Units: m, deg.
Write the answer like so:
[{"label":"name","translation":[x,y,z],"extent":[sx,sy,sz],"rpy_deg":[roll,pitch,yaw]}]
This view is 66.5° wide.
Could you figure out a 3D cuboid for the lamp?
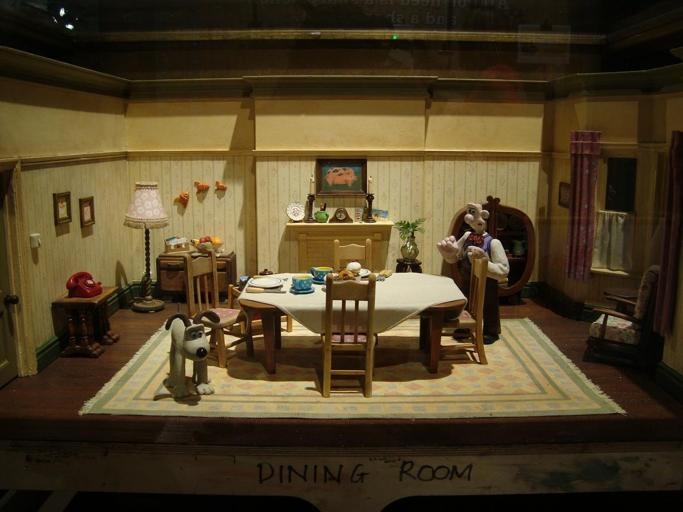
[{"label":"lamp","translation":[-2.448,-0.118,6.437],"extent":[0.475,1.566,0.640],"rpy_deg":[-3,8,-27]}]

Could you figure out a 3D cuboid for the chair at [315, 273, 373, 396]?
[{"label":"chair","translation":[0.050,0.613,4.434],"extent":[0.465,1.035,0.776],"rpy_deg":[0,7,1]}]

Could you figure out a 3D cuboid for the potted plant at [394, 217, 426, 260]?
[{"label":"potted plant","translation":[0.838,-0.201,6.371],"extent":[0.342,0.514,0.351],"rpy_deg":[2,7,16]}]

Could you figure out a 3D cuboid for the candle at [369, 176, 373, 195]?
[{"label":"candle","translation":[0.364,-0.880,6.454],"extent":[0.047,0.214,0.110],"rpy_deg":[3,7,21]}]

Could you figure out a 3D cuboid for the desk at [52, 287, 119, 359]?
[{"label":"desk","translation":[-2.607,0.740,5.405],"extent":[0.350,0.505,0.711],"rpy_deg":[-7,-3,-5]}]

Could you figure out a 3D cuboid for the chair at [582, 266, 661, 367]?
[{"label":"chair","translation":[2.703,0.516,4.911],"extent":[0.628,0.933,0.630],"rpy_deg":[5,10,34]}]

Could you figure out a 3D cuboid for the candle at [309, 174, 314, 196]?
[{"label":"candle","translation":[-0.371,-0.872,6.460],"extent":[0.068,0.247,0.084],"rpy_deg":[0,7,-4]}]

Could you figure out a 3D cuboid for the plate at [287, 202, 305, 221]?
[{"label":"plate","translation":[-0.588,-0.551,6.524],"extent":[0.229,0.239,0.125],"rpy_deg":[-1,7,-9]}]

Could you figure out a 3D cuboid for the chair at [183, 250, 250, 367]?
[{"label":"chair","translation":[-1.202,0.510,5.011],"extent":[0.515,0.951,0.505],"rpy_deg":[6,10,25]}]
